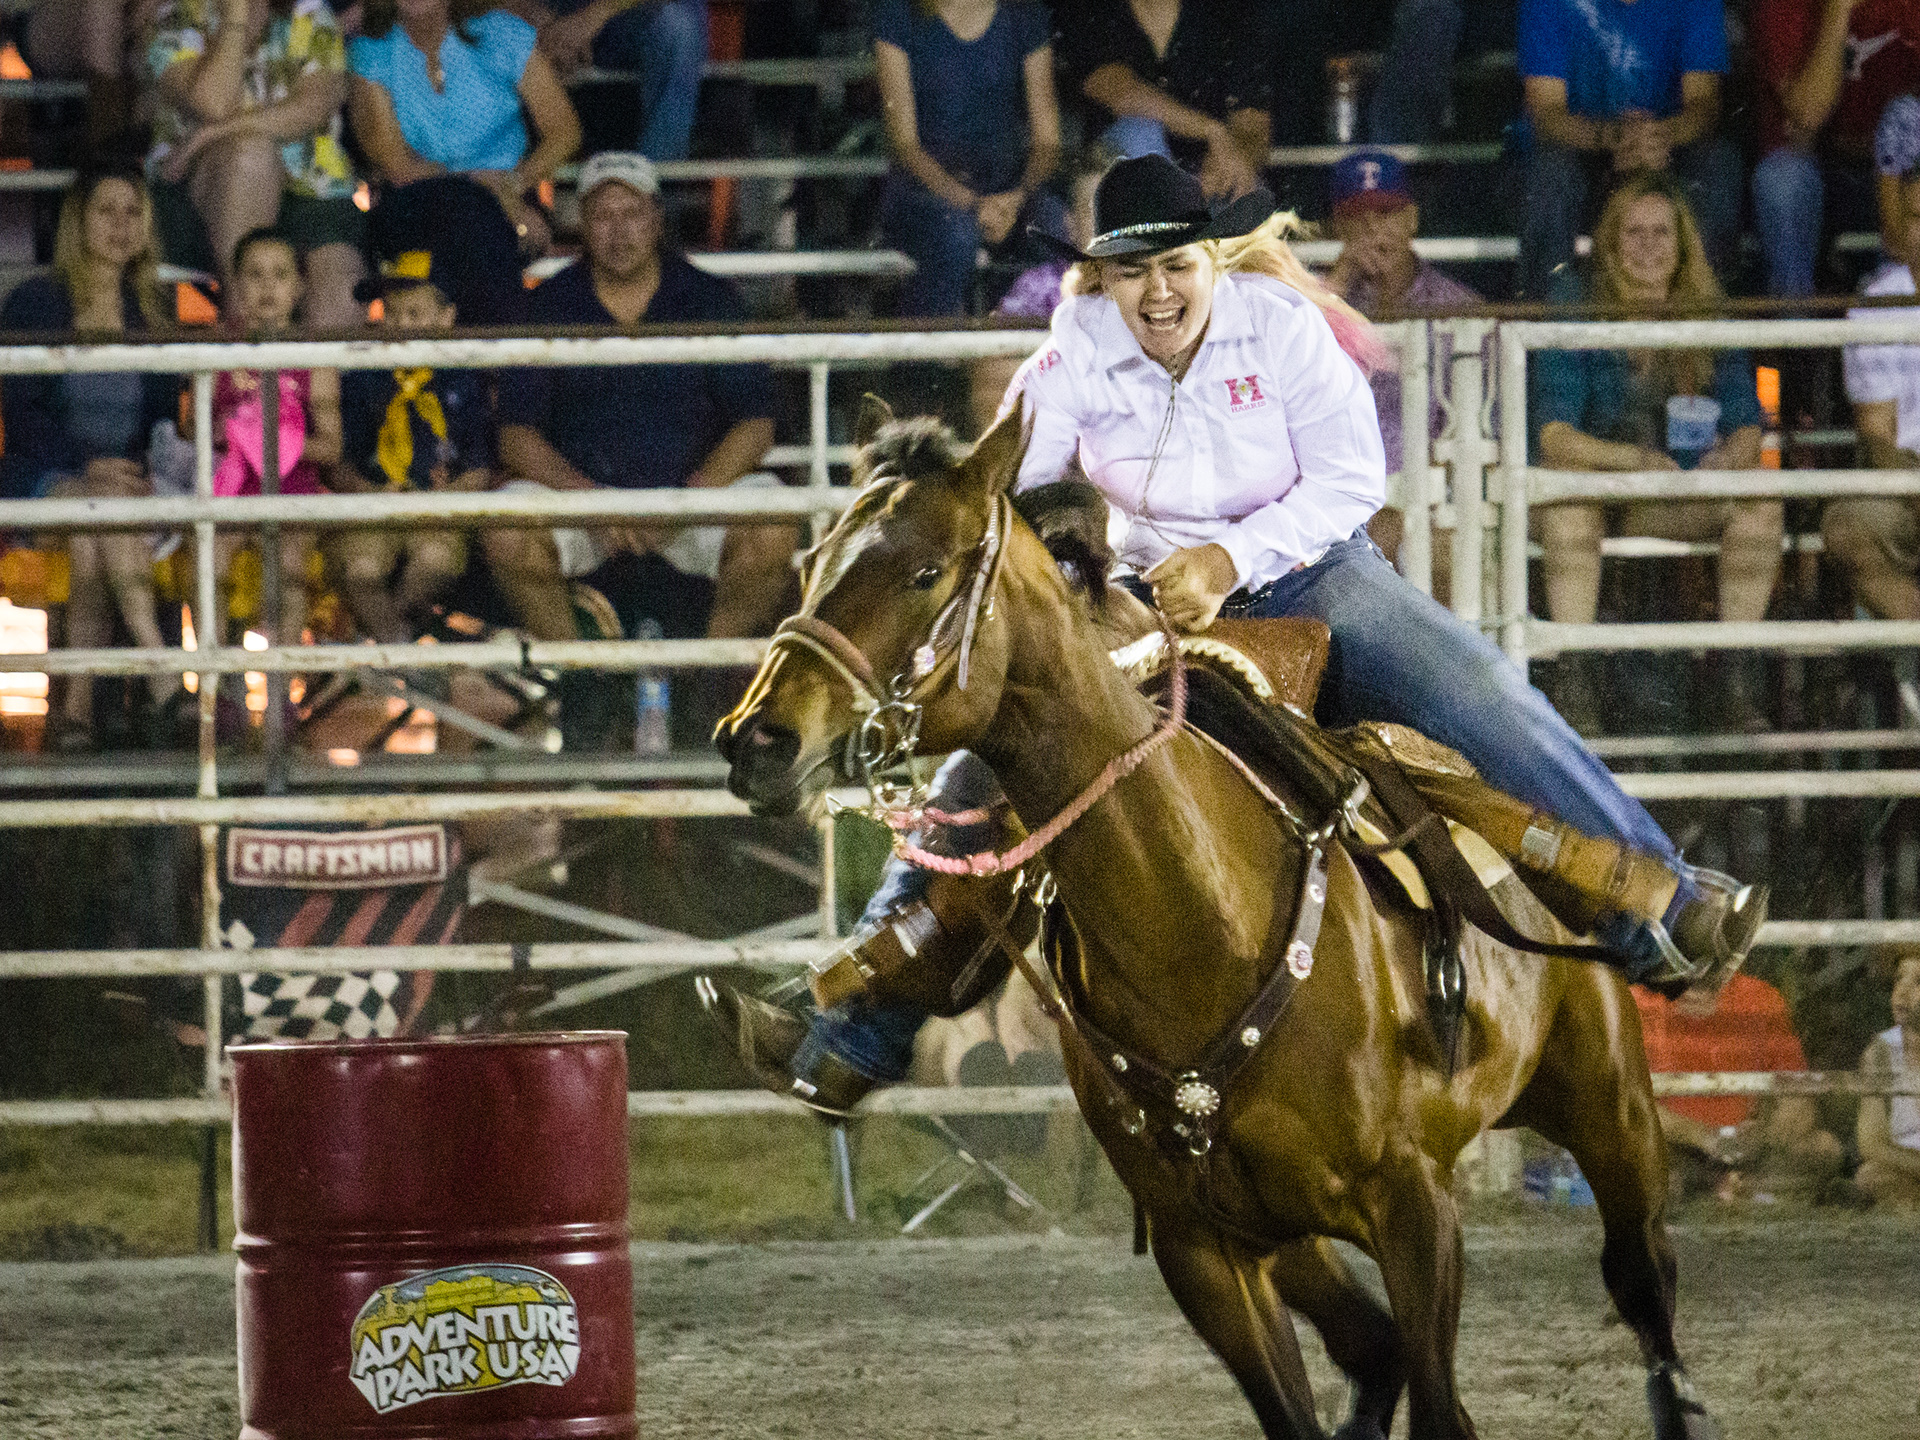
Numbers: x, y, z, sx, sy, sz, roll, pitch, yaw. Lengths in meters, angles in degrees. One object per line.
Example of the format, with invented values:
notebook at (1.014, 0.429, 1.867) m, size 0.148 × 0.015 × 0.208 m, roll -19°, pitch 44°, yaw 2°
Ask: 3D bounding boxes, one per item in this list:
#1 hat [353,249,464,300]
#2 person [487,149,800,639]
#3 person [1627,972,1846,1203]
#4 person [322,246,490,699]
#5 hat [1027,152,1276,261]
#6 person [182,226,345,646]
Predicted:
hat at (-2.071, -1.625, 19.350) m, size 0.182 × 0.159 × 0.302 m, roll 9°, pitch 25°, yaw 41°
person at (-1.221, -1.063, 18.955) m, size 1.185 × 2.118 × 1.090 m, roll -4°, pitch 7°, yaw -8°
person at (2.601, 1.285, 17.547) m, size 0.634 × 0.788 × 0.429 m, roll -19°, pitch -4°, yaw 17°
person at (-1.980, -0.961, 18.875) m, size 0.599 × 1.339 × 1.011 m, roll -3°, pitch 3°, yaw -6°
hat at (0.571, -1.540, 15.655) m, size 0.772 × 0.308 × 0.783 m, roll -6°, pitch -3°, yaw -14°
person at (-2.469, -1.051, 18.923) m, size 0.466 × 1.519 × 1.077 m, roll -3°, pitch 3°, yaw -8°
